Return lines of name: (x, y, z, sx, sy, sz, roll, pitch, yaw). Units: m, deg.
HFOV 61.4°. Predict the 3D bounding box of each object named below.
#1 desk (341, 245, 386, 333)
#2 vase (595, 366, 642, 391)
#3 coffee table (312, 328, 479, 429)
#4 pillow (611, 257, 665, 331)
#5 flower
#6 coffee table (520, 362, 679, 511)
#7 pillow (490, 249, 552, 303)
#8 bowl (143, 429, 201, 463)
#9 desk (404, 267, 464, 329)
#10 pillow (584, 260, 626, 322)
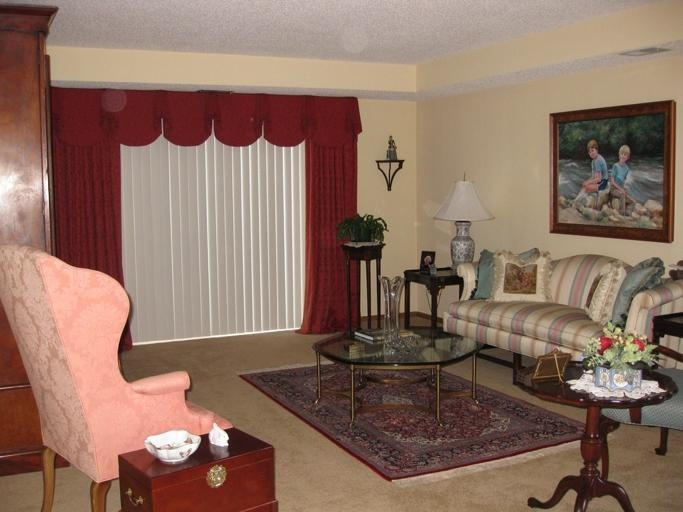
desk: (0.297, 0.401, 7.440, 0.529, 1.215, 1.253, -1, 9, 3)
vase: (1.572, 0.692, 3.301, 0.149, 0.066, 0.186, 0, -3, 0)
coffee table: (0.511, 0.893, 4.720, 0.993, 0.363, 0.916, 0, 1, -9)
pillow: (2.554, 0.274, 5.019, 0.232, 0.664, 0.484, 24, 1, 3)
flower: (1.648, 0.535, 3.345, 0.358, 0.207, 0.343, -5, 1, -16)
coffee table: (1.490, 1.049, 3.558, 0.912, 0.767, 0.928, 4, 8, 23)
pillow: (1.922, 0.241, 6.095, 0.547, 0.514, 0.179, 1, -12, 15)
bowl: (-0.818, 0.920, 2.794, 0.172, 0.059, 0.171, -1, 6, 0)
desk: (0.960, 0.381, 6.768, 0.869, 0.774, 0.720, -2, 3, -41)
pillow: (2.445, 0.324, 5.296, 0.173, 0.526, 0.362, 10, 8, -12)
